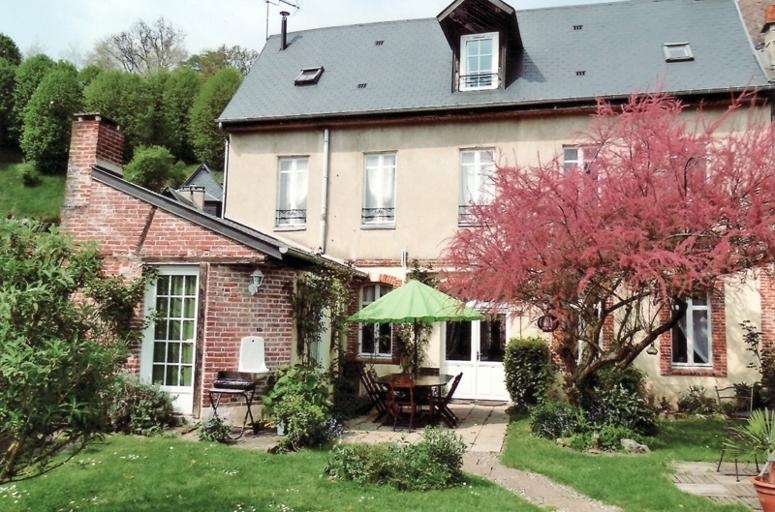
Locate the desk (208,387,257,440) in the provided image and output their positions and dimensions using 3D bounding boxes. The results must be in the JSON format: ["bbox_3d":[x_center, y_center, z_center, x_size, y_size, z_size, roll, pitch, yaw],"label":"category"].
[{"bbox_3d":[-3.814,3.864,16.413,0.894,1.283,0.788,3,2,-35],"label":"desk"}]

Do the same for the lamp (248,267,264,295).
[{"bbox_3d":[-3.347,0.668,16.939,0.433,0.656,0.218,-2,13,-17],"label":"lamp"}]
